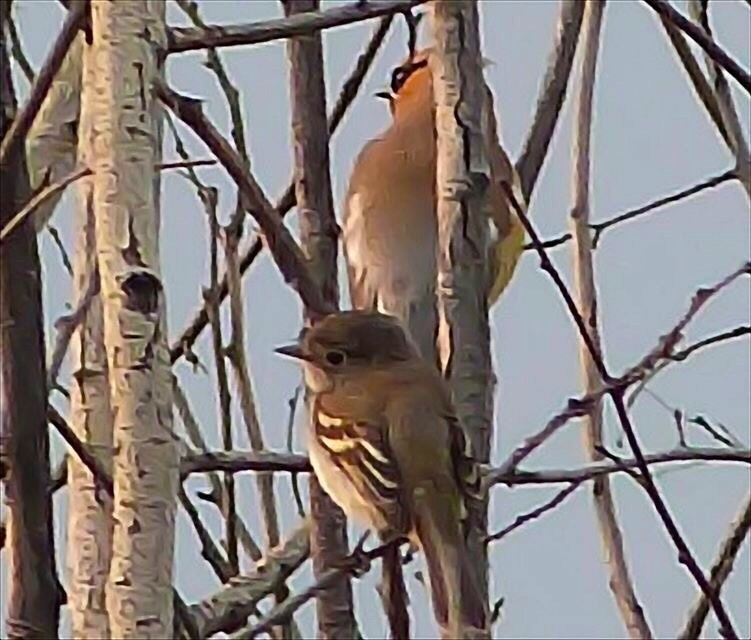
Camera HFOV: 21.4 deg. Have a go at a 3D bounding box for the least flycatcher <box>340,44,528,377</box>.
[{"bbox_3d":[0.132,-0.213,4.686,0.382,0.862,0.375,-9,-31,34],"label":"least flycatcher"}]

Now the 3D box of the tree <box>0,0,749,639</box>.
[{"bbox_3d":[-0.072,-0.068,4.623,1.423,1.786,1.346,-6,-6,38],"label":"tree"}]
